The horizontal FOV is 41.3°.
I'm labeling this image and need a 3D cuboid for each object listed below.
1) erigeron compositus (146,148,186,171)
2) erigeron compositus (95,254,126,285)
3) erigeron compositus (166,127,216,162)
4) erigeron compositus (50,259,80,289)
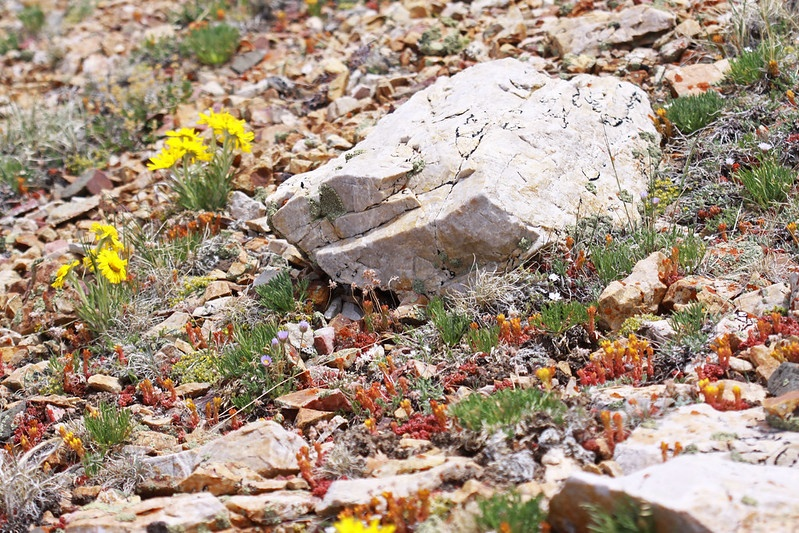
[{"bbox_3d":[-3.071,-1.388,13.804,0.415,0.217,0.432,-19,5,4],"label":"erigeron compositus"},{"bbox_3d":[-3.502,0.014,12.751,0.099,0.361,0.348,-19,-2,42],"label":"erigeron compositus"},{"bbox_3d":[-2.769,-1.627,13.851,0.217,0.496,0.530,-62,3,23],"label":"erigeron compositus"},{"bbox_3d":[-4.048,0.113,12.787,0.416,0.145,0.394,-57,2,-19],"label":"erigeron compositus"}]
